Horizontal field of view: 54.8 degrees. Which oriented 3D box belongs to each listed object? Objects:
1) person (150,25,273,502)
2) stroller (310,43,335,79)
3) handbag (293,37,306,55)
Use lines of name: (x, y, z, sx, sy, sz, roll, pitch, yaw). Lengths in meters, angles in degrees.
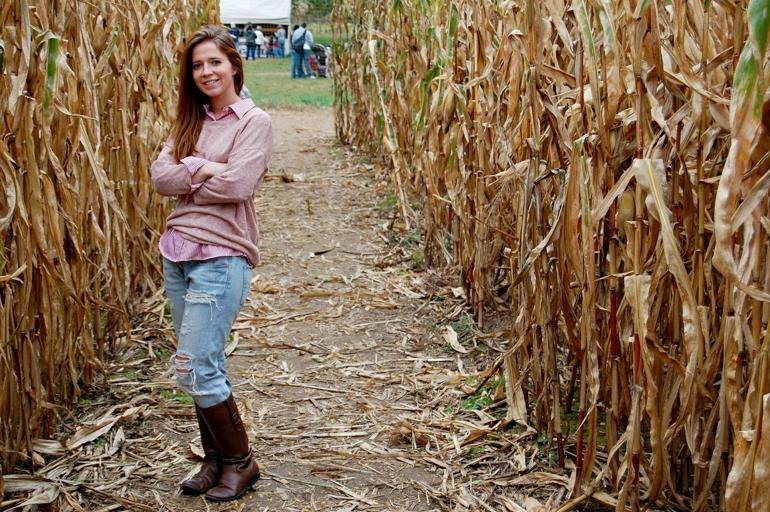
person: (-0.679, 0.017, 2.952, 0.454, 1.820, 0.501, -2, 13, -17)
stroller: (-1.536, -4.776, 18.011, 0.845, 0.820, 0.610, -6, 11, 3)
handbag: (-1.897, -4.639, 16.314, 0.297, 0.282, 0.170, 3, 37, -2)
